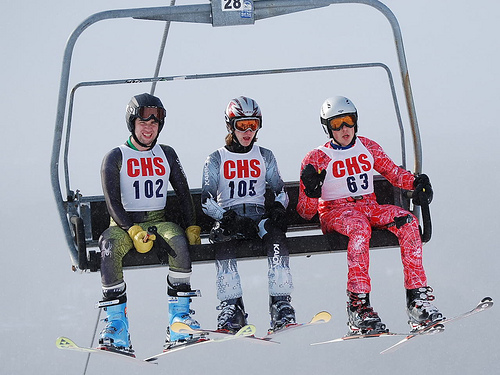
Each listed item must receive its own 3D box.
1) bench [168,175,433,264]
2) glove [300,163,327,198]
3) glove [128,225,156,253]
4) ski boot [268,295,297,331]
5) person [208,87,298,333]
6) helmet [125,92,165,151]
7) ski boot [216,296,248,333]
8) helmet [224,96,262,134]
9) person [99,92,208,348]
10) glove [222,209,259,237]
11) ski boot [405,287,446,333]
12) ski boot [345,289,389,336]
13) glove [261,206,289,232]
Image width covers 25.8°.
[{"bbox_3d":[0.413,0.289,8.511,2.025,0.651,0.505,-3,-30,0],"label":"bench"},{"bbox_3d":[0.472,-0.059,8.175,0.197,0.321,0.098,-11,3,-2],"label":"glove"},{"bbox_3d":[-0.795,0.359,7.939,0.158,0.219,0.116,-16,-44,-24],"label":"glove"},{"bbox_3d":[0.255,0.865,7.961,0.086,0.253,0.258,-21,-53,14],"label":"ski boot"},{"bbox_3d":[-0.002,0.197,8.235,0.618,1.822,0.504,-3,-15,-2],"label":"person"},{"bbox_3d":[-0.799,-0.539,8.327,0.279,0.405,0.307,-1,15,-17],"label":"helmet"},{"bbox_3d":[-0.131,0.911,7.967,0.282,0.299,0.148,-3,2,-13],"label":"ski boot"},{"bbox_3d":[-0.059,-0.543,8.458,0.272,0.339,0.357,-3,11,-15],"label":"helmet"},{"bbox_3d":[-0.751,0.250,8.110,0.754,1.932,0.497,-3,-15,-5],"label":"person"},{"bbox_3d":[-0.065,0.269,8.244,0.273,0.204,0.080,4,-17,-28],"label":"glove"},{"bbox_3d":[1.251,0.851,7.996,0.150,0.345,0.462,11,-9,-17],"label":"ski boot"},{"bbox_3d":[0.828,0.892,7.967,0.137,0.373,0.429,6,-10,-24],"label":"ski boot"},{"bbox_3d":[0.193,0.247,8.311,0.157,0.087,0.197,30,-1,-19],"label":"glove"}]
